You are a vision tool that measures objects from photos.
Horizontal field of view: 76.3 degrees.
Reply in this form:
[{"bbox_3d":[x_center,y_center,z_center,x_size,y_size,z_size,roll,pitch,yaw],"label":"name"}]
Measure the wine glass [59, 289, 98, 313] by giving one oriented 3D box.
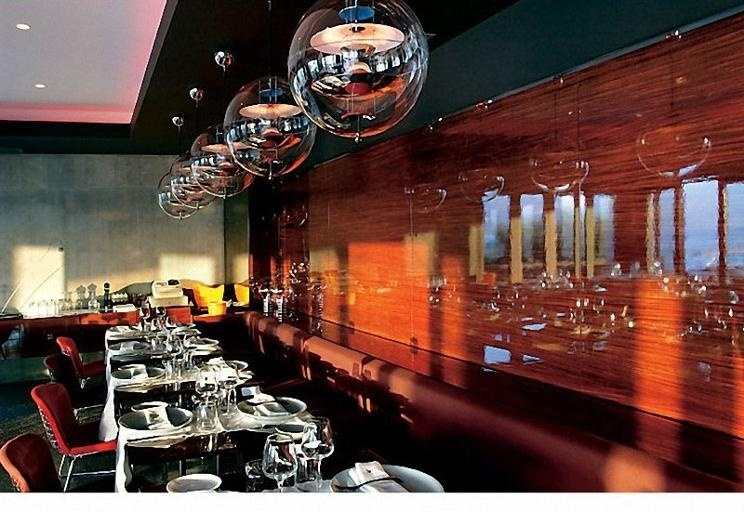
[{"bbox_3d":[-4.912,0.778,7.848,0.457,0.331,0.162,0,-2,-1],"label":"wine glass"}]
